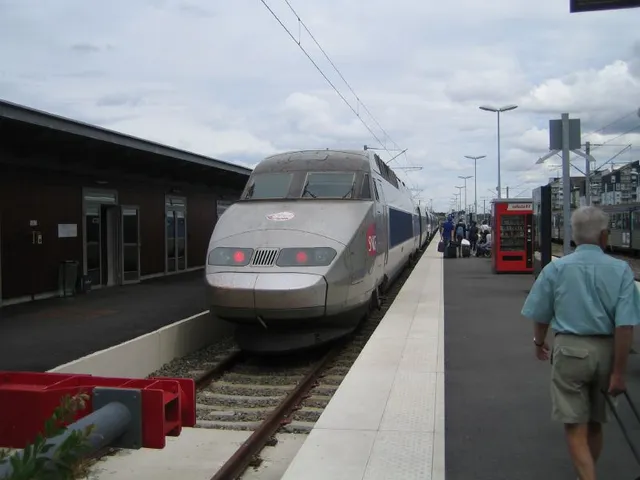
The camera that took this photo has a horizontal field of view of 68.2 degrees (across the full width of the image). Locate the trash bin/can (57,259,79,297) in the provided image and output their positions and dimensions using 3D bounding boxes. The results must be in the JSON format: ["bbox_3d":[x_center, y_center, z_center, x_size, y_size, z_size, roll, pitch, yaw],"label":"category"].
[{"bbox_3d":[-6.777,1.042,12.638,0.422,0.962,0.365,-1,-1,-41],"label":"trash bin/can"}]

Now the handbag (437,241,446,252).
[{"bbox_3d":[6.183,0.397,24.077,0.351,0.601,0.603,1,12,17],"label":"handbag"}]

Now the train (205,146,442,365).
[{"bbox_3d":[0.035,-0.072,9.194,2.138,2.981,4.802,-2,-1,30],"label":"train"}]

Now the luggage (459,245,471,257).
[{"bbox_3d":[7.801,0.571,25.067,0.566,0.570,1.018,6,3,11],"label":"luggage"}]

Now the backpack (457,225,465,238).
[{"bbox_3d":[7.674,-0.414,25.601,0.389,0.729,0.385,-2,-1,1],"label":"backpack"}]
